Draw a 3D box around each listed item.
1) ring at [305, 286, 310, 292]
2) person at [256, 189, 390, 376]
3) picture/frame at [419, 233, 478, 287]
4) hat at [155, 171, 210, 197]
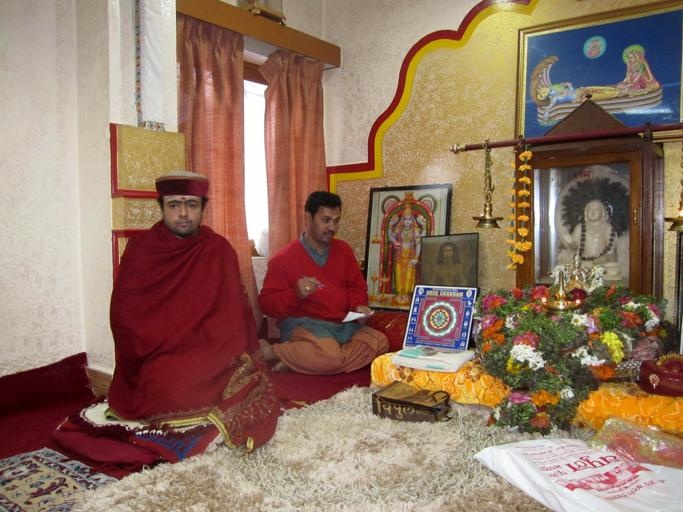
[{"bbox_3d":[-0.244,0.232,3.778,0.034,0.037,0.010,1,-2,-7],"label":"ring"},{"bbox_3d":[-0.159,0.180,4.111,0.957,1.364,0.654,-1,6,-17],"label":"person"},{"bbox_3d":[0.937,0.042,4.546,0.428,0.466,0.018,2,-12,22],"label":"picture/frame"},{"bbox_3d":[-0.999,-0.451,3.332,0.200,0.107,0.200,0,5,13],"label":"hat"}]
